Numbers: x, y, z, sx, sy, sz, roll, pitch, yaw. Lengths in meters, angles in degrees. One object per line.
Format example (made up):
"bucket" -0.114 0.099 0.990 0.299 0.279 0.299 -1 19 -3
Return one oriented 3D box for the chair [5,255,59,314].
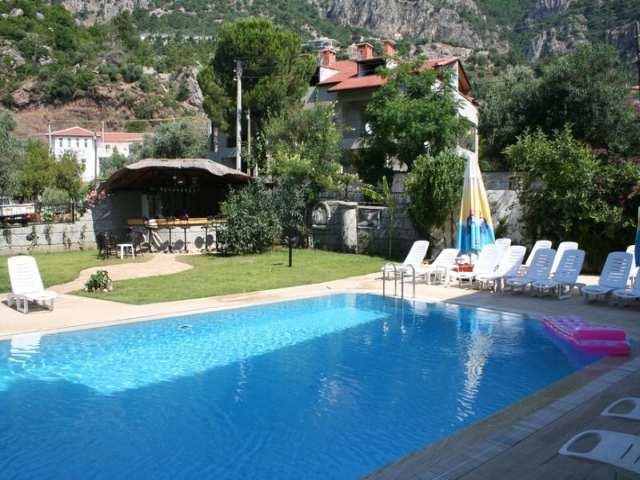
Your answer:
"chair" -8.071 1.217 18.171 1.023 1.614 1.990 -3 8 -38
